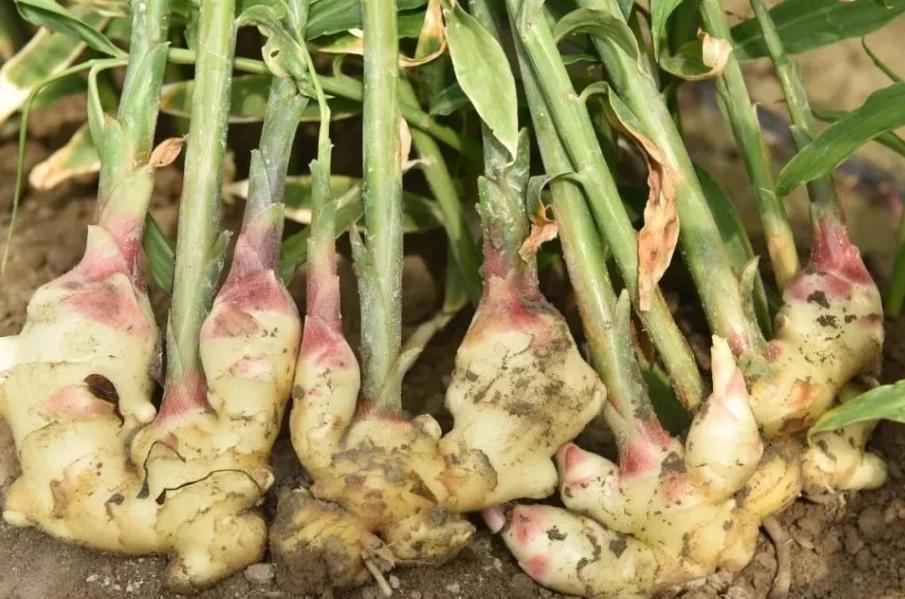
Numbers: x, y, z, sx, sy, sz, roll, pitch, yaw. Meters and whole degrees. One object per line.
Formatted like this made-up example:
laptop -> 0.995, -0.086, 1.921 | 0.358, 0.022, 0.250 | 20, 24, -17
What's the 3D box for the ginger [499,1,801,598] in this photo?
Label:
ginger -> 0.188, 0.062, 1.280 | 0.349, 0.173, 0.753 | -10, 83, -12
